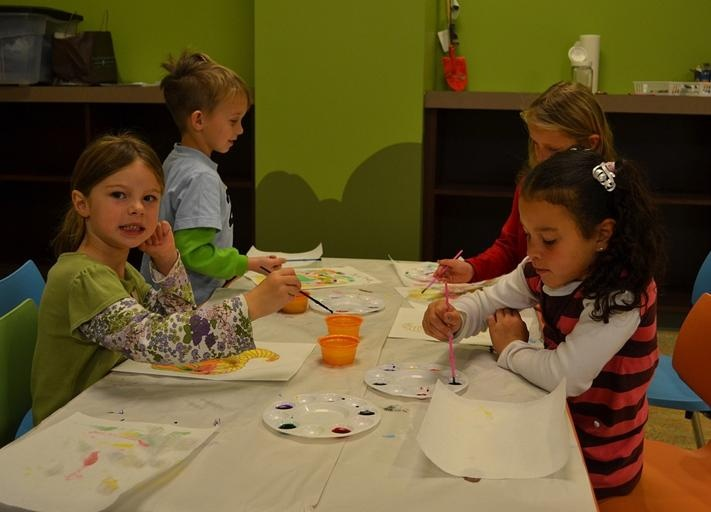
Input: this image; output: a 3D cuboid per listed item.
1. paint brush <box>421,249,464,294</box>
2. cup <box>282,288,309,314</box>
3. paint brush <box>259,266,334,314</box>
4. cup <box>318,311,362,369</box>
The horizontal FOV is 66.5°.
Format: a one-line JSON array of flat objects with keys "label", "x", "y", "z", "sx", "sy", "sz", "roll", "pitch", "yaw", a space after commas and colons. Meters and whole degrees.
[{"label": "paint brush", "x": 0.355, "y": 0.063, "z": 2.251, "sx": 0.206, "sy": 0.027, "sz": 0.026, "roll": -43, "pitch": 24, "yaw": -7}, {"label": "cup", "x": -0.179, "y": 0.138, "z": 1.617, "sx": 0.086, "sy": 0.046, "sz": 0.094, "roll": -1, "pitch": 3, "yaw": 0}, {"label": "paint brush", "x": -0.175, "y": 0.104, "z": 1.616, "sx": 0.245, "sy": 0.011, "sz": 0.032, "roll": 31, "pitch": 4, "yaw": 24}, {"label": "cup", "x": -0.038, "y": 0.222, "z": 1.406, "sx": 0.082, "sy": 0.053, "sz": 0.190, "roll": 0, "pitch": 7, "yaw": 2}]
